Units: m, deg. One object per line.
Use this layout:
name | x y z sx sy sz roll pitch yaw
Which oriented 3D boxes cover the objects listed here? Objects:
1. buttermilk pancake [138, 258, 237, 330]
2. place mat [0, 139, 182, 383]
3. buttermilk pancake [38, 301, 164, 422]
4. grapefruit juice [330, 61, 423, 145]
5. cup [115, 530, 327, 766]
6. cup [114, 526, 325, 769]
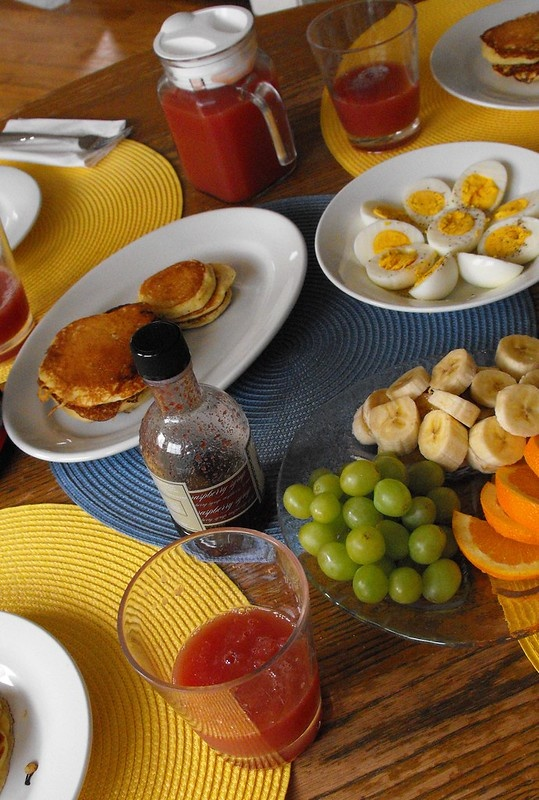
buttermilk pancake | -0.103 -0.143 0.968 0.111 0.036 0.115 -33 36 -21
place mat | -0.320 -0.301 1.319 0.435 0.004 0.444 22 65 40
buttermilk pancake | -0.223 -0.038 0.878 0.173 0.049 0.165 9 50 21
grapefruit juice | 0.165 -0.445 1.071 0.121 0.092 0.123 -15 37 10
cup | -0.028 0.176 0.544 0.161 0.170 0.166 -12 52 15
cup | -0.023 0.172 0.543 0.162 0.171 0.168 -12 49 15
